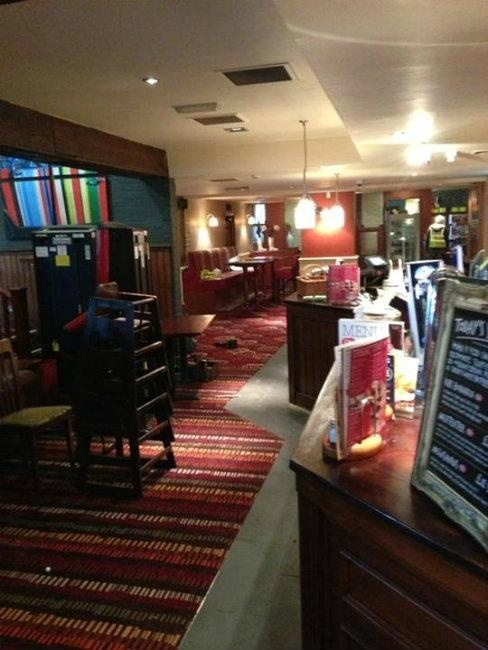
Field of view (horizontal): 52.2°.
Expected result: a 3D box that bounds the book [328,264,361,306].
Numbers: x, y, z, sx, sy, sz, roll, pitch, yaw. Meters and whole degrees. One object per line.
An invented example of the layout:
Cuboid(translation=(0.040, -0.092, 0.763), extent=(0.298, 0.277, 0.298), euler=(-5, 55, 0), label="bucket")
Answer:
Cuboid(translation=(0.933, -0.393, 4.453), extent=(0.318, 0.359, 0.315), euler=(-2, 21, 7), label="book")

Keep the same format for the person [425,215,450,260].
Cuboid(translation=(4.588, -2.097, 11.874), extent=(0.486, 1.029, 1.515), euler=(0, 10, 21), label="person")

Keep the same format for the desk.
Cuboid(translation=(0.202, -1.219, 12.993), extent=(0.770, 0.887, 2.583), euler=(16, -2, -3), label="desk")

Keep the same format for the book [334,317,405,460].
Cuboid(translation=(0.334, 0.180, 1.309), extent=(0.060, 0.307, 0.356), euler=(3, 4, 28), label="book")
